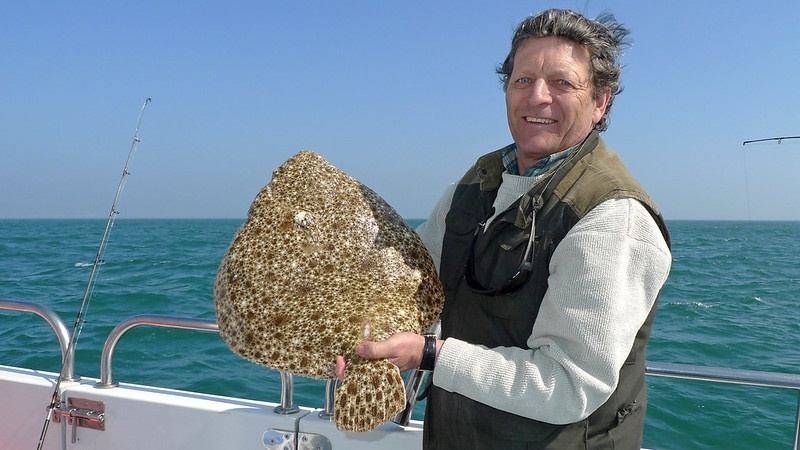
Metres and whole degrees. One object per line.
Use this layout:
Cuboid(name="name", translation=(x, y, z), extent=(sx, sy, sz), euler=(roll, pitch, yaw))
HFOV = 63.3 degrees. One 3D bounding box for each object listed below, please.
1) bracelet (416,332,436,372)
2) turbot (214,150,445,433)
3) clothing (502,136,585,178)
Cuboid(name="bracelet", translation=(0.279, 1.218, 6.126), extent=(0.208, 0.309, 0.288), euler=(8, 13, -10))
Cuboid(name="turbot", translation=(-0.781, 0.495, 6.328), extent=(2.345, 2.776, 0.669), euler=(-13, -17, -5))
Cuboid(name="clothing", translation=(1.424, -0.628, 6.645), extent=(0.431, 0.281, 0.559), euler=(-15, -8, 35))
